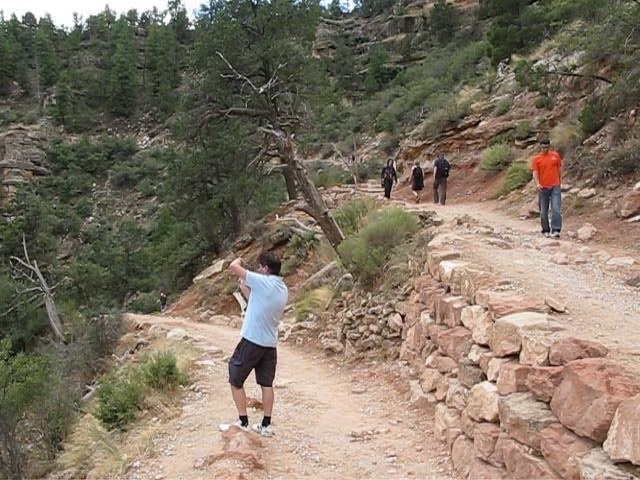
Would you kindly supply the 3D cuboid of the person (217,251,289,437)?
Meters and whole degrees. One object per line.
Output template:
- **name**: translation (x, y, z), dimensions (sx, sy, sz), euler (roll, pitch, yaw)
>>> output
- **person**: translation (-1.055, 1.840, 9.327), dimensions (1.130, 3.175, 0.472), euler (-7, 8, -10)

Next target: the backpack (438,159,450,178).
- **backpack**: translation (4.378, -2.514, 18.891), dimensions (0.465, 0.662, 0.175), euler (-8, 9, -18)

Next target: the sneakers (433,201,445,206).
- **sneakers**: translation (4.272, -1.288, 19.122), dimensions (0.161, 0.246, 0.513), euler (-2, -2, -21)

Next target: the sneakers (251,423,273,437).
- **sneakers**: translation (-0.997, 3.318, 9.496), dimensions (0.380, 0.210, 0.179), euler (13, 8, 16)

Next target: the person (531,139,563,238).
- **person**: translation (5.358, -1.242, 12.473), dimensions (0.591, 2.237, 0.840), euler (-7, 8, -12)

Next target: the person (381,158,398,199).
- **person**: translation (2.750, -2.402, 21.239), dimensions (0.510, 1.521, 2.655), euler (-4, 9, 8)

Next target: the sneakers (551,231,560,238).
- **sneakers**: translation (5.403, -0.110, 12.299), dimensions (0.096, 0.121, 0.249), euler (-2, -9, 8)
